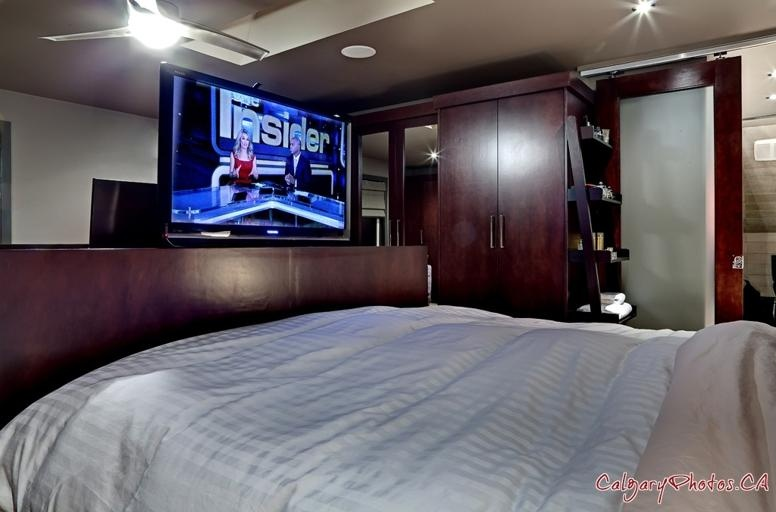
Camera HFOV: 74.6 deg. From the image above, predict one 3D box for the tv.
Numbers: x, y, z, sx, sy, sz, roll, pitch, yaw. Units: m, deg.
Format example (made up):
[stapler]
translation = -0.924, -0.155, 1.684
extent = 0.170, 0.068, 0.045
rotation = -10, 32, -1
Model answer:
[tv]
translation = -0.817, -0.663, 3.200
extent = 0.204, 1.146, 1.619
rotation = 3, 2, 42
